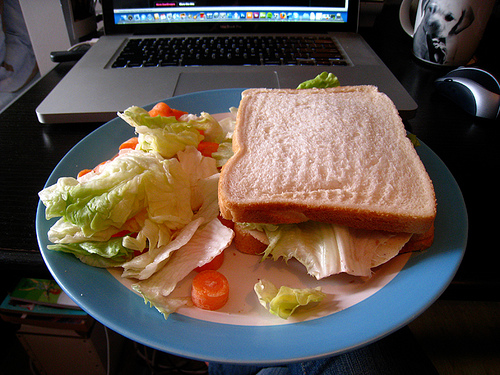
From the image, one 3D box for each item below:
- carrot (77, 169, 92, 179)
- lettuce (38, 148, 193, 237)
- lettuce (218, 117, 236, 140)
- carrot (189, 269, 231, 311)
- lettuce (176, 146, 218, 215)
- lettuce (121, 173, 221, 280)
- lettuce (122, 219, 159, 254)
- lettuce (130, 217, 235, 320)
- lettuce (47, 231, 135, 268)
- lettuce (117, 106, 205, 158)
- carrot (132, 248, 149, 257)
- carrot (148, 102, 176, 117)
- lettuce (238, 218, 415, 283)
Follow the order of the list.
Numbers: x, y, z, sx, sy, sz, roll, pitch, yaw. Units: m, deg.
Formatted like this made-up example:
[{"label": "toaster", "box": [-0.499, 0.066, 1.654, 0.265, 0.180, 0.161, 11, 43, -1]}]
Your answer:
[{"label": "carrot", "box": [-0.588, -0.054, 1.330, 0.033, 0.009, 0.035, -26, 42, -16]}, {"label": "lettuce", "box": [-0.456, -0.002, 1.256, 0.529, 0.160, 0.314, -2, 70, -11]}, {"label": "lettuce", "box": [-0.103, -0.245, 1.570, 0.069, 0.030, 0.088, -10, 71, 4]}, {"label": "carrot", "box": [-0.117, 0.304, 1.116, 0.098, 0.043, 0.102, 21, 46, 11]}, {"label": "lettuce", "box": [-0.192, -0.042, 1.308, 0.195, 0.052, 0.205, 26, 55, -22]}, {"label": "lettuce", "box": [-0.224, 0.142, 1.291, 0.161, 0.121, 0.461, -1, 51, 48]}, {"label": "lettuce", "box": [-0.336, 0.157, 1.183, 0.096, 0.035, 0.102, -9, 75, -40]}, {"label": "lettuce", "box": [-0.191, 0.233, 1.179, 0.306, 0.093, 0.194, -45, 49, -14]}, {"label": "lettuce", "box": [-0.503, 0.186, 1.239, 0.229, 0.263, 0.106, 7, 90, -10]}, {"label": "lettuce", "box": [-0.338, -0.197, 1.363, 0.250, 0.115, 0.187, 2, 48, -18]}, {"label": "carrot", "box": [-0.353, 0.207, 1.194, 0.021, 0.017, 0.022, 3, 31, -1]}, {"label": "carrot", "box": [-0.345, -0.301, 1.466, 0.072, 0.036, 0.077, -5, 46, -2]}, {"label": "lettuce", "box": [0.264, 0.187, 1.128, 0.289, 0.137, 0.285, 0, 20, 2]}]
